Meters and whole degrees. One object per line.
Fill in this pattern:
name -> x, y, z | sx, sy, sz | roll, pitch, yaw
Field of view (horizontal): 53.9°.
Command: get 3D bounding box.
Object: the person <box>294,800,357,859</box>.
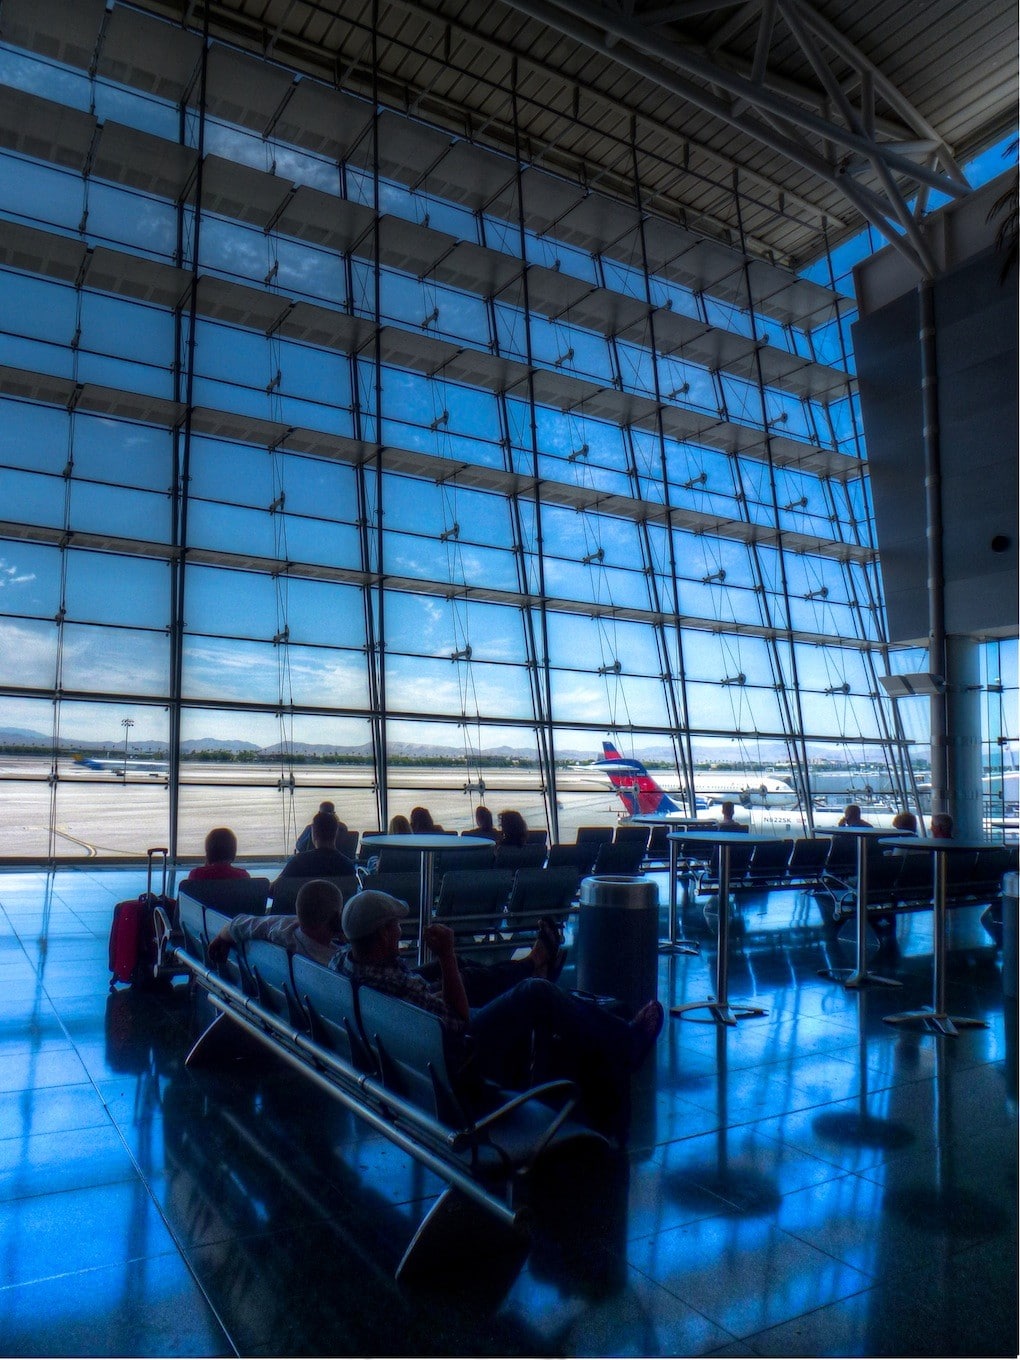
person -> -1.690, 1.406, 9.322 | 0.667, 0.471, 1.051 | 2, -9, -15

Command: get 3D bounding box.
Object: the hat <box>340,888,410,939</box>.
hat -> -0.463, 0.797, 3.456 | 0.229, 0.151, 0.188 | 3, -5, -26

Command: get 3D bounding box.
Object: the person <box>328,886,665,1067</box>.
person -> -0.038, 1.088, 3.788 | 1.213, 0.730, 0.677 | -4, 7, -37
